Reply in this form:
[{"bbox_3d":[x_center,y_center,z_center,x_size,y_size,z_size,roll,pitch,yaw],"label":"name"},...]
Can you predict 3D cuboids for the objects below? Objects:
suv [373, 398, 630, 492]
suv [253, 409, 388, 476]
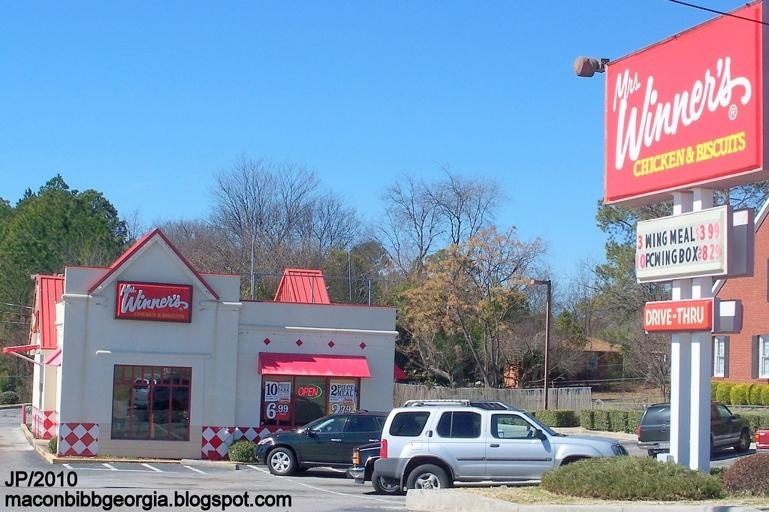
[{"bbox_3d":[4.257,7.070,41.690,8.208,3.511,3.211,0,-7,-4],"label":"suv"},{"bbox_3d":[-2.066,7.715,45.967,6.572,2.789,3.086,5,-8,-9],"label":"suv"}]
